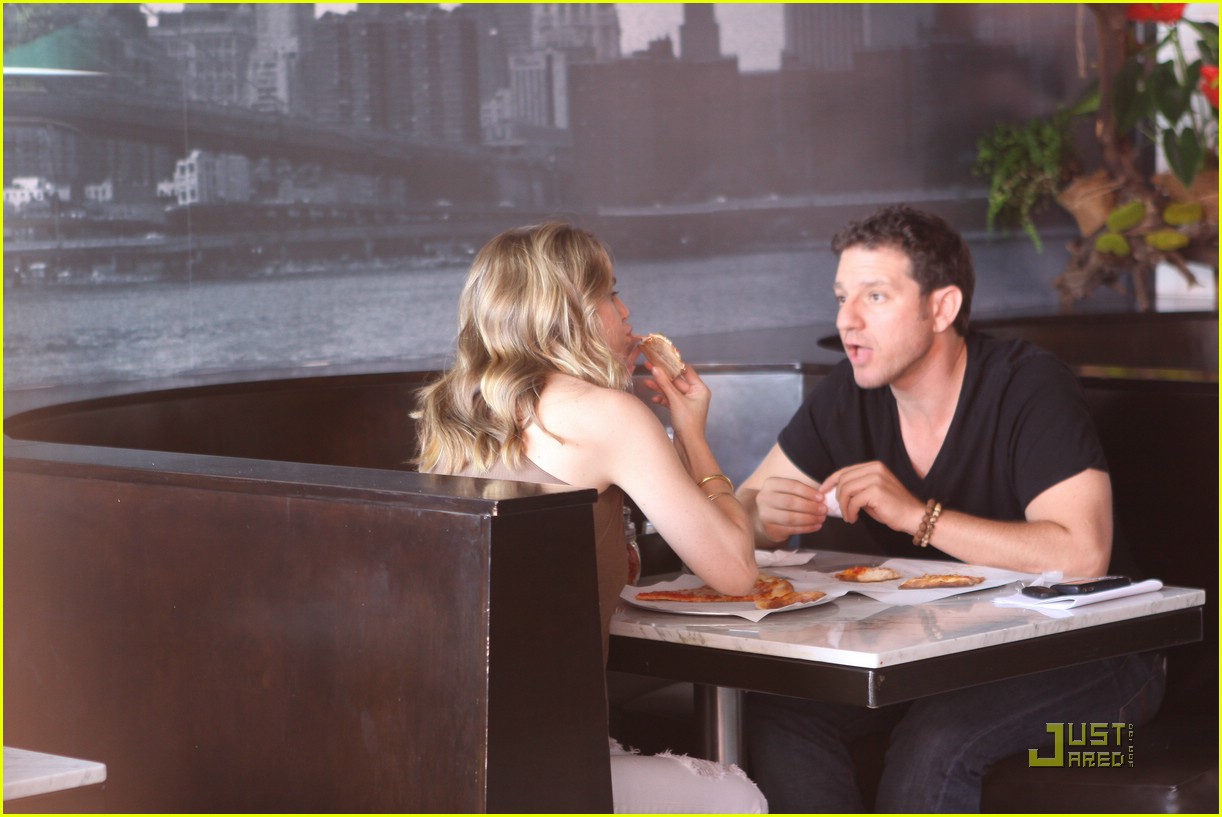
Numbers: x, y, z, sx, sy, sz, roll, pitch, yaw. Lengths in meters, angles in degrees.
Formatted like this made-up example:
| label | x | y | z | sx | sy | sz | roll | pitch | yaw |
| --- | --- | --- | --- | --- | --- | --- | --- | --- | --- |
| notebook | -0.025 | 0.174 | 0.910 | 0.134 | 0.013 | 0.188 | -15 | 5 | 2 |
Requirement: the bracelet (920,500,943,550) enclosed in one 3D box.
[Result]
| label | x | y | z | sx | sy | sz | roll | pitch | yaw |
| --- | --- | --- | --- | --- | --- | --- | --- | --- | --- |
| bracelet | 0.708 | 0.261 | 2.326 | 0.032 | 0.086 | 0.067 | 23 | -1 | 5 |

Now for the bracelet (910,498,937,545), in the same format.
| label | x | y | z | sx | sy | sz | roll | pitch | yaw |
| --- | --- | --- | --- | --- | --- | --- | --- | --- | --- |
| bracelet | 0.696 | 0.250 | 2.336 | 0.033 | 0.085 | 0.066 | 21 | -2 | -22 |

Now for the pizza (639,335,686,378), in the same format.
| label | x | y | z | sx | sy | sz | roll | pitch | yaw |
| --- | --- | --- | --- | --- | --- | --- | --- | --- | --- |
| pizza | 0.115 | -0.119 | 2.409 | 0.080 | 0.114 | 0.027 | -34 | -15 | -29 |
